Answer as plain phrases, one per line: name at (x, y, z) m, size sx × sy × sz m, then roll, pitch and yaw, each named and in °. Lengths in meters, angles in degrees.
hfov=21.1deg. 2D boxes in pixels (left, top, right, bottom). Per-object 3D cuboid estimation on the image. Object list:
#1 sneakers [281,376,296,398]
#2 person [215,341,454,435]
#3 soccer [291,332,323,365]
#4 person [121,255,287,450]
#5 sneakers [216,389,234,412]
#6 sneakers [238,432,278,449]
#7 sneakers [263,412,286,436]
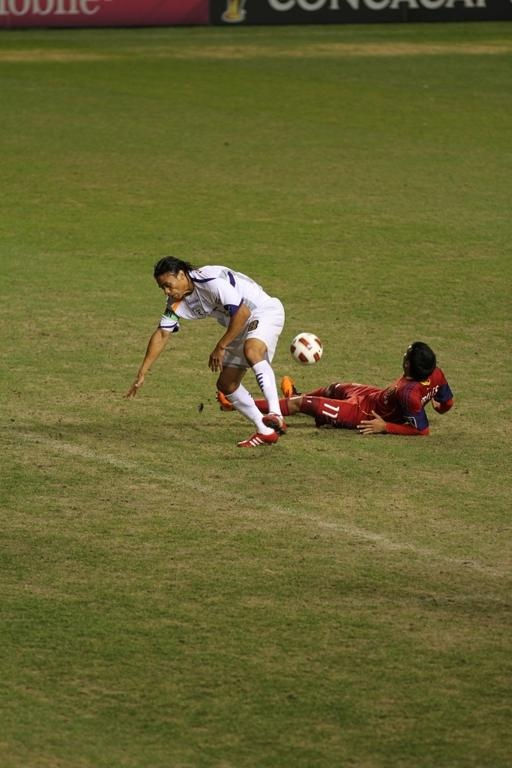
sneakers at (0.234, 0.022, 9.251) m, size 0.064 × 0.124 × 0.126 m, roll -4°, pitch -20°, yaw 8°
person at (0.609, -0.004, 8.719) m, size 1.149 × 0.449 × 0.725 m, roll 5°, pitch 11°, yaw 17°
soccer at (0.377, -0.232, 9.544) m, size 0.234 × 0.208 × 0.236 m, roll 1°, pitch 47°, yaw -9°
person at (-0.138, -0.212, 8.486) m, size 0.681 × 1.254 × 0.940 m, roll 17°, pitch 26°, yaw 38°
sneakers at (-0.216, 0.116, 9.309) m, size 0.104 × 0.064 × 0.167 m, roll 20°, pitch -11°, yaw 38°
sneakers at (0.026, 0.343, 8.490) m, size 0.276 × 0.101 × 0.092 m, roll -7°, pitch 9°, yaw -11°
sneakers at (0.145, 0.261, 8.506) m, size 0.074 × 0.178 × 0.079 m, roll -5°, pitch 43°, yaw 42°
